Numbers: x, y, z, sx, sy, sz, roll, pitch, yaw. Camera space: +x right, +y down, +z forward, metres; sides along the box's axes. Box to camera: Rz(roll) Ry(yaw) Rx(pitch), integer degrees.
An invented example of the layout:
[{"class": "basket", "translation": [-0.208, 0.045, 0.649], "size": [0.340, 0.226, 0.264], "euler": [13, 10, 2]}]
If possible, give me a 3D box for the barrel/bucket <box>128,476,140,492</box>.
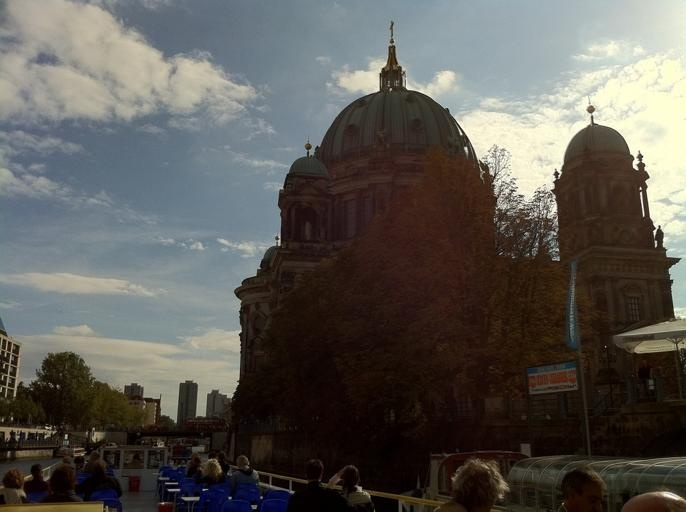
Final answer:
[{"class": "barrel/bucket", "translation": [-8.243, 8.995, 24.100], "size": [0.522, 0.653, 0.510], "euler": [-1, -7, 0]}]
